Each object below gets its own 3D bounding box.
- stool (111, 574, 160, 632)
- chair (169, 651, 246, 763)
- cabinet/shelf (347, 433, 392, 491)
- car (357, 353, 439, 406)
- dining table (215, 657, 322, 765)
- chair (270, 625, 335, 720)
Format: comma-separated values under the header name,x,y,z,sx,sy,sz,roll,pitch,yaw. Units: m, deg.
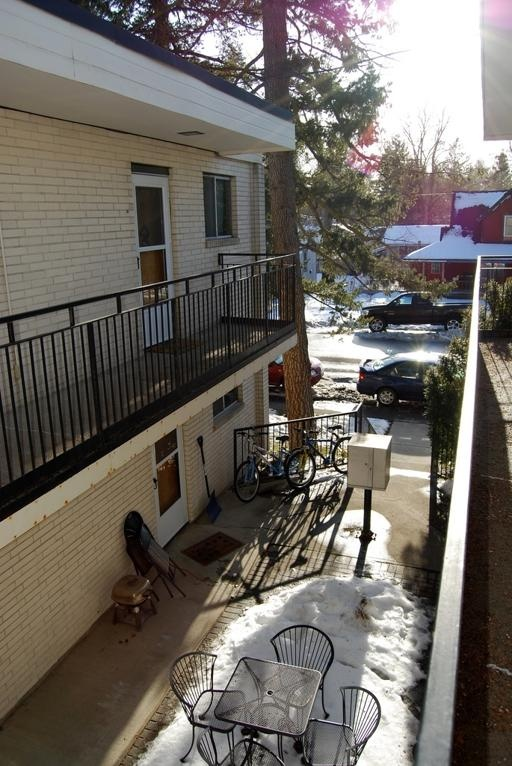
name,x,y,z,sx,sy,sz,roll,pitch,yaw
stool,-1.921,3.468,8.134,0.714,0.815,0.699,8,26,17
chair,-0.658,3.877,6.496,0.891,1.426,1.061,0,21,16
cabinet/shelf,2.177,1.586,10.062,0.808,1.005,0.626,-1,13,11
car,5.268,-0.062,19.892,2.763,1.753,1.484,0,13,15
dining table,0.125,3.682,5.711,0.957,0.890,1.026,4,9,4
chair,0.690,3.962,7.247,0.882,1.268,0.894,-1,9,8
